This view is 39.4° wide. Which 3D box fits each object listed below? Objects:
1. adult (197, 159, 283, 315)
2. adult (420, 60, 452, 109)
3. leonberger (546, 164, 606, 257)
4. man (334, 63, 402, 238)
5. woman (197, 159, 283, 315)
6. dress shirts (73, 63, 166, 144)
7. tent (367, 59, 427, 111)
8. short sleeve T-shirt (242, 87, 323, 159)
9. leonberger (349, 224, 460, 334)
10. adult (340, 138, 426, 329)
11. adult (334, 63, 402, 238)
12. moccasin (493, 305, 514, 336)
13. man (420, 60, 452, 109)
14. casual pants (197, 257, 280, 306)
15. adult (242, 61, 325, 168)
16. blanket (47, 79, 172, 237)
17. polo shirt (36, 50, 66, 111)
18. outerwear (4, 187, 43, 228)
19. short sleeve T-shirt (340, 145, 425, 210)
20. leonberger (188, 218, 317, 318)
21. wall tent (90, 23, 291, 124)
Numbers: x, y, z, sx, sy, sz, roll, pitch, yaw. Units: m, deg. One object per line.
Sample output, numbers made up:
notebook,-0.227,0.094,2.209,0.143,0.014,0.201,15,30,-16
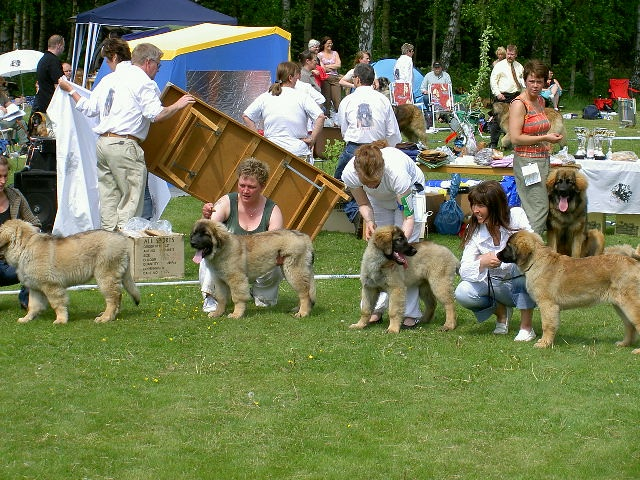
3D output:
adult,-0.924,-0.004,10.760,1.075,1.874,1.043,-5,16,-30
adult,3.223,-4.463,25.324,1.034,1.593,1.095,-5,22,-3
leonberger,3.572,-0.330,12.587,0.842,1.432,1.274,3,12,22
man,0.780,-1.529,13.673,0.917,2.515,0.815,7,40,12
woman,-0.929,-0.002,10.740,1.085,1.854,1.045,-4,14,-28
dress shirts,-2.775,-1.829,12.473,1.399,1.181,0.620,-8,10,-10
tent,2.391,-4.998,27.630,1.950,1.711,2.095,1,-7,19
short sleeve T-shirt,-0.593,-1.909,13.937,1.122,1.087,0.642,-1,34,-6
leonberger,1.100,0.432,10.034,1.161,1.228,0.937,-2,5,-21
adult,0.782,-0.149,10.454,0.824,2.462,1.240,1,26,14
adult,0.748,-1.490,13.637,0.876,2.541,0.797,6,36,9
moccasin,2.086,0.897,10.110,0.133,0.458,0.171,10,13,24
man,3.233,-4.497,25.379,1.034,1.593,1.095,-5,22,-3
casual pants,-0.950,0.527,10.957,0.848,0.582,0.595,-4,28,0
adult,-0.572,-1.492,14.088,1.181,2.532,0.731,3,19,7
blanket,-3.005,-1.165,12.617,1.905,2.331,0.277,-11,-2,-35
polo shirt,-5.121,-3.032,16.889,0.385,1.164,1.096,-9,15,-39
outerwear,-3.548,-0.363,10.600,0.335,0.483,0.161,-30,28,-31
short sleeve T-shirt,0.723,-0.688,10.001,0.881,0.698,0.510,1,6,3
leonberger,-0.772,0.351,10.587,1.548,1.220,0.530,-2,10,-22
wall tent,-2.098,-3.500,17.369,2.465,1.506,2.482,-9,27,-34
